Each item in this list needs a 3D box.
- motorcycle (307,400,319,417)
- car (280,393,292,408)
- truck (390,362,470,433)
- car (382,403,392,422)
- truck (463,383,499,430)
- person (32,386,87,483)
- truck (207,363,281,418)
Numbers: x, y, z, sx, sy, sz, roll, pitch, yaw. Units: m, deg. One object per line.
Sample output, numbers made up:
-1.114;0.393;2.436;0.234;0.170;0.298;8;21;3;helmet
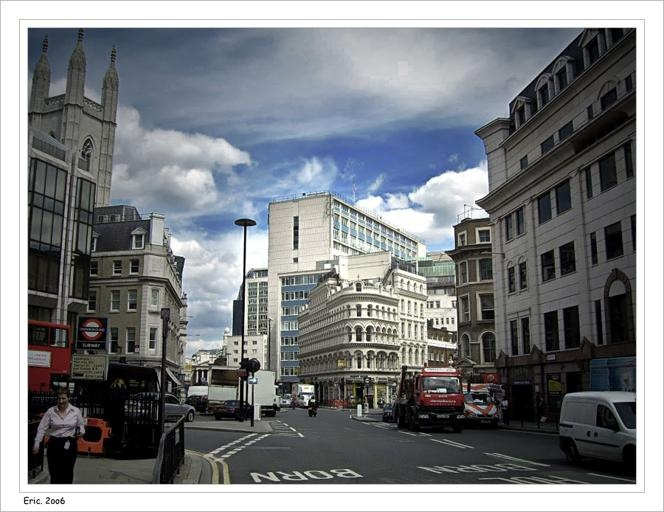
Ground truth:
-1.697;13.037;59.868;0.995;1.179;1.995;4;-16;-3;motorcycle
-6.185;19.497;93.987;1.501;1.413;2.745;-1;-7;11;car
4.928;7.777;36.043;1.969;2.579;5.883;3;-23;-3;truck
4.034;11.148;50.037;0.945;0.870;1.733;1;-26;-2;car
7.977;8.419;39.965;1.895;2.445;4.764;2;-11;-4;truck
-5.646;3.701;14.518;0.904;1.933;0.443;4;-13;-17;person
-6.095;10.941;55.549;2.508;3.048;5.536;-8;-15;8;truck
